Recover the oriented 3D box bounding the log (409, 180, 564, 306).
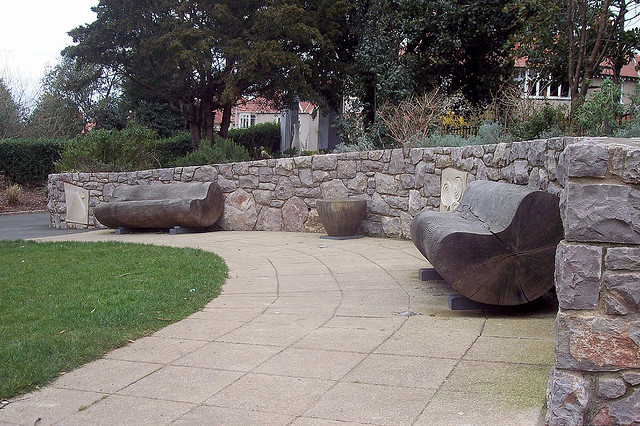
[{"bbox_3d":[1.849,0.295,5.641,1.298,1.221,1.377,-1,9,0],"label":"log"}]

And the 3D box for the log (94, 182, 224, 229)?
[{"bbox_3d":[-3.898,-0.184,12.071,2.841,1.145,0.930,1,9,15],"label":"log"}]
